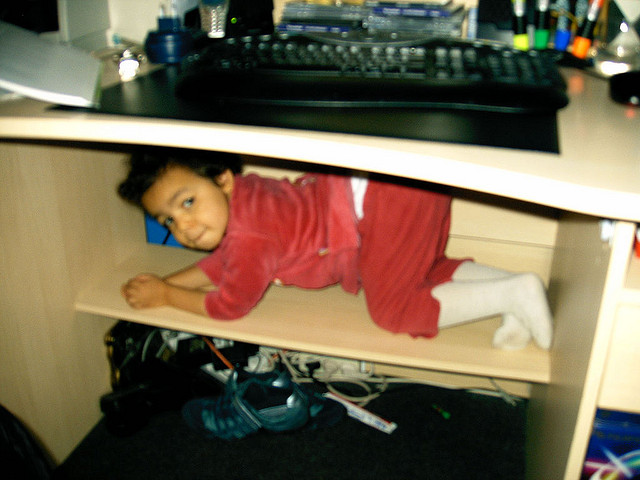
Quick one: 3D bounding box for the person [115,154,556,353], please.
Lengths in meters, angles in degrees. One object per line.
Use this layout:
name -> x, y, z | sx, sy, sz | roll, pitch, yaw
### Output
person -> 0.021, -0.005, 1.301 | 1.038, 0.444, 0.340 | 5, 25, 16

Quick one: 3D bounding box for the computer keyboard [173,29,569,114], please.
computer keyboard -> 0.078, -0.320, 0.993 | 0.695, 0.152, 0.322 | 0, 17, 4
